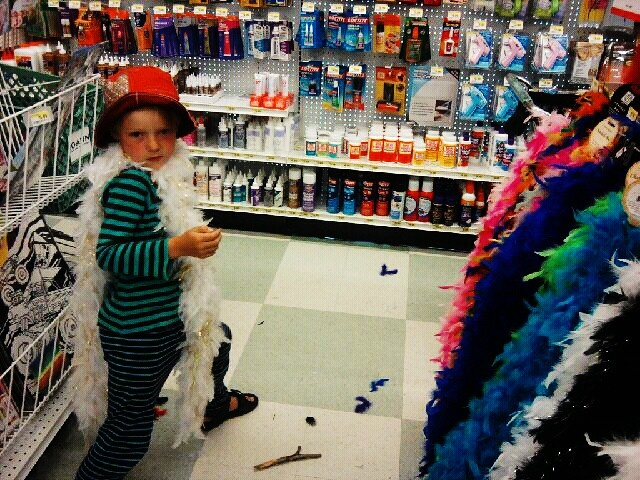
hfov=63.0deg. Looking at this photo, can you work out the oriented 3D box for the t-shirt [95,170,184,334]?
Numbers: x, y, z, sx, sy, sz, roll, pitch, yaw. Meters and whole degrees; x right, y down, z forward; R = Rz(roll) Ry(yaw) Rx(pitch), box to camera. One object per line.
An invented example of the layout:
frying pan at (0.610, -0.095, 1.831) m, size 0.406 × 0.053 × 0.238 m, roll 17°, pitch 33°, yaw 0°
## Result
t-shirt at (-0.646, 0.053, 1.793) m, size 0.298 × 0.585 × 0.219 m, roll -1°, pitch 20°, yaw -9°
